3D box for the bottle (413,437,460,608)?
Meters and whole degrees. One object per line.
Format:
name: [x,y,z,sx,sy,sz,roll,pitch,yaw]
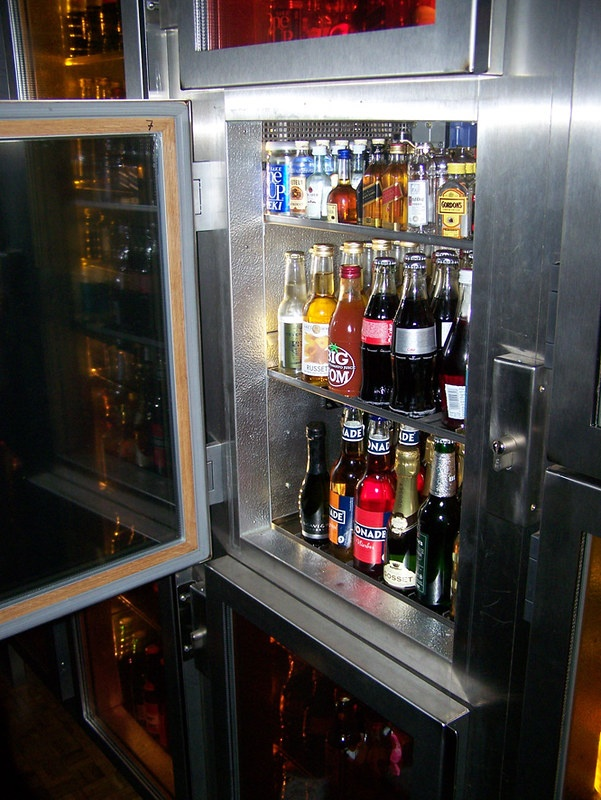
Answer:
bottle: [0.230,0.196,1.076,0.066,0.302,0.071,1,16,0]
